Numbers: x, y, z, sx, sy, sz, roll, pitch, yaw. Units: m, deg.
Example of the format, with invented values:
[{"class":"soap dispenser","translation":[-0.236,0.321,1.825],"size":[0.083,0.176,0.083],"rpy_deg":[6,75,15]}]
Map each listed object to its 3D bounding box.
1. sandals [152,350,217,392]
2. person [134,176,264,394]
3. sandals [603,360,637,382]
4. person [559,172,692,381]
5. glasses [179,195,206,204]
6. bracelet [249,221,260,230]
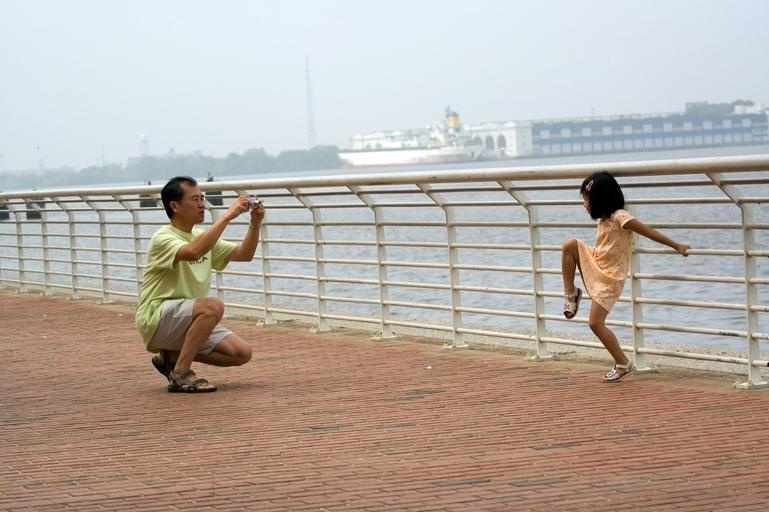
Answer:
[{"class":"sandals","translation":[-1.720,0.991,6.182],"size":[0.709,0.243,0.249],"rpy_deg":[7,11,28]},{"class":"person","translation":[-1.569,0.226,6.148],"size":[1.025,1.786,0.830],"rpy_deg":[-6,7,-21]},{"class":"sandals","translation":[1.914,0.949,5.948],"size":[0.288,0.115,0.126],"rpy_deg":[-28,10,-9]},{"class":"person","translation":[1.849,0.170,5.822],"size":[0.808,1.692,0.413],"rpy_deg":[-2,7,17]},{"class":"glasses","translation":[-1.640,-0.480,6.122],"size":[0.168,0.040,0.153],"rpy_deg":[-1,0,23]},{"class":"bracelet","translation":[-1.137,-0.267,6.379],"size":[0.114,0.048,0.112],"rpy_deg":[0,2,-3]}]
